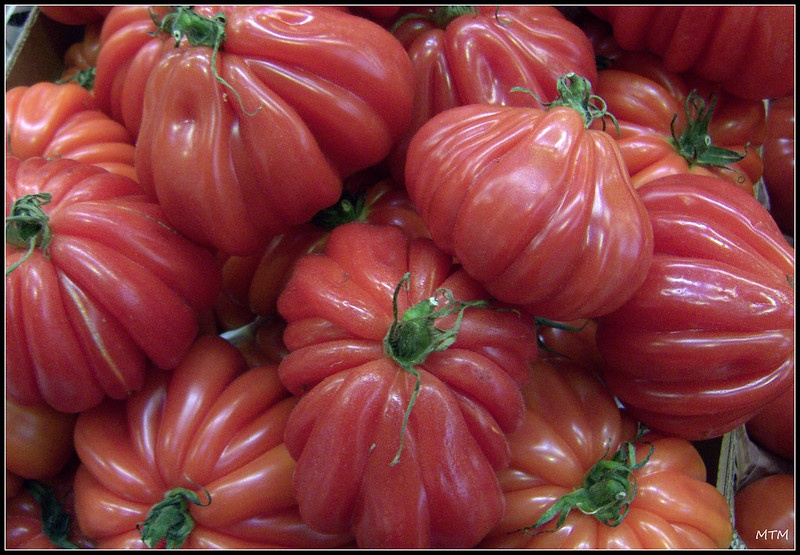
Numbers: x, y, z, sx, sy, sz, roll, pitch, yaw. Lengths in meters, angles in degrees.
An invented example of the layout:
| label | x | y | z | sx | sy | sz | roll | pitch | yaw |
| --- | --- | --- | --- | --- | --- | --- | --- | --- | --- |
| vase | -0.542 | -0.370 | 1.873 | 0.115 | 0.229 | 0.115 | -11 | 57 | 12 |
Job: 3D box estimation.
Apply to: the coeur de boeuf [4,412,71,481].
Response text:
| label | x | y | z | sx | sy | sz | roll | pitch | yaw |
| --- | --- | --- | --- | --- | --- | --- | --- | --- | --- |
| coeur de boeuf | -1.085 | 0.490 | 2.016 | 0.190 | 0.211 | 0.215 | -8 | 76 | 32 |

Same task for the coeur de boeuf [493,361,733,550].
| label | x | y | z | sx | sy | sz | roll | pitch | yaw |
| --- | --- | --- | --- | --- | --- | --- | --- | --- | --- |
| coeur de boeuf | 0.578 | 0.572 | 2.083 | 0.554 | 0.355 | 0.600 | 4 | 77 | 0 |

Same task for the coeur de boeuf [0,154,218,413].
| label | x | y | z | sx | sy | sz | roll | pitch | yaw |
| --- | --- | --- | --- | --- | --- | --- | --- | --- | --- |
| coeur de boeuf | -0.837 | -0.005 | 1.937 | 0.601 | 0.561 | 0.476 | -9 | 38 | -3 |

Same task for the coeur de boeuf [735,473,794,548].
| label | x | y | z | sx | sy | sz | roll | pitch | yaw |
| --- | --- | --- | --- | --- | --- | --- | --- | --- | --- |
| coeur de boeuf | 1.198 | 0.764 | 2.211 | 0.177 | 0.106 | 0.245 | 5 | 40 | 15 |

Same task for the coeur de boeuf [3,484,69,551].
| label | x | y | z | sx | sy | sz | roll | pitch | yaw |
| --- | --- | --- | --- | --- | --- | --- | --- | --- | --- |
| coeur de boeuf | -1.111 | 0.753 | 2.092 | 0.184 | 0.077 | 0.181 | -39 | 86 | -19 |
